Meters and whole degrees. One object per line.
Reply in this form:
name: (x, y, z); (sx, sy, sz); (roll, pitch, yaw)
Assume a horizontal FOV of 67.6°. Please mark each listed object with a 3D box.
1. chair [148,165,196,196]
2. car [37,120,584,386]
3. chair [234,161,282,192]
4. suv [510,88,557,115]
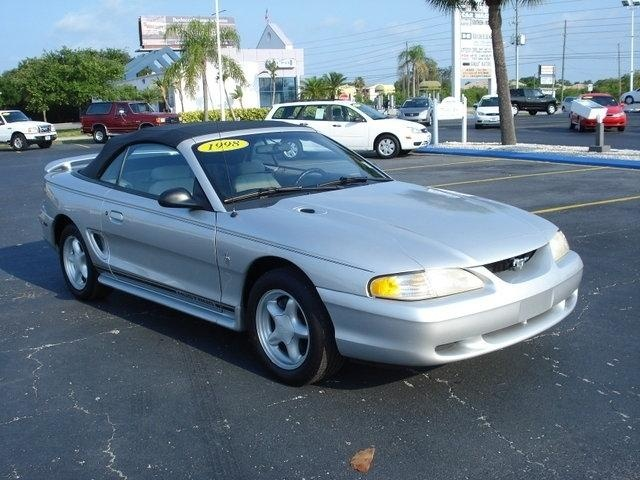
chair: (-1.320, -0.560, 4.310); (0.383, 0.352, 0.342); (-3, 13, 5)
car: (-0.499, 0.015, 4.282); (4.587, 1.397, 2.173); (10, 17, 33)
chair: (-0.555, -0.515, 4.124); (0.282, 0.374, 0.324); (-3, -3, -23)
suv: (18.588, -12.133, 42.006); (4.880, 2.284, 0.918); (-8, 17, -21)
